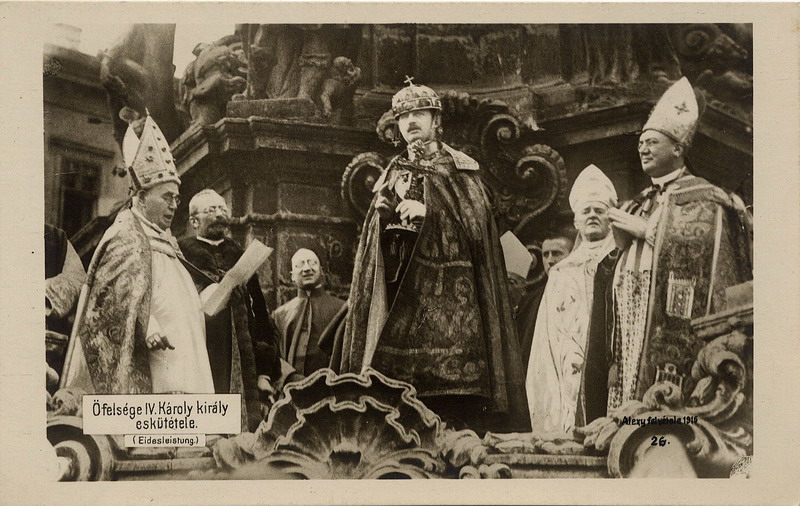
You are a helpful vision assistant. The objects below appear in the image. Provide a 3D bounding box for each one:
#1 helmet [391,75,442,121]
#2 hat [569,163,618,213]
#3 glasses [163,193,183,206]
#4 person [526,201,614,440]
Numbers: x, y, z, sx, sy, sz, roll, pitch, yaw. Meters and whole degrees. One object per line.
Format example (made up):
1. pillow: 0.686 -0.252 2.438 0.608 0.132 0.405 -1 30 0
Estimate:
1. helmet: 0.200 -1.952 29.600 0.537 0.343 0.501 -13 -2 -2
2. hat: 2.399 -0.813 29.377 0.495 0.575 0.215 4 0 2
3. glasses: -2.853 -0.679 29.578 0.178 0.132 0.184 5 -30 -16
4. person: 2.141 0.829 29.503 1.078 2.873 0.443 -10 -17 33
